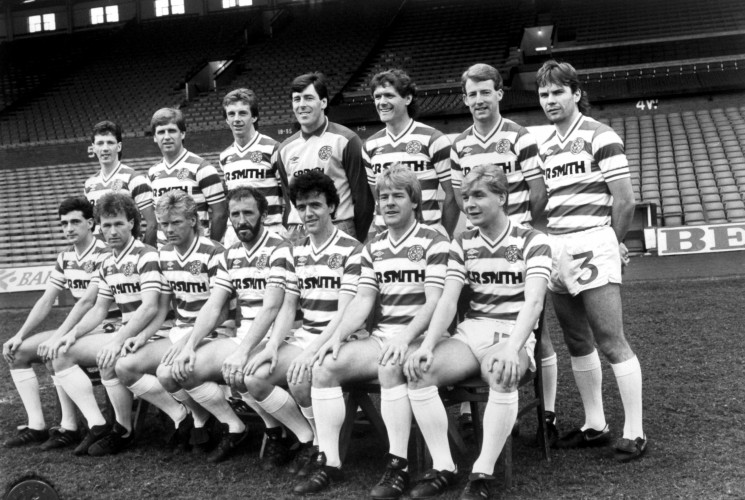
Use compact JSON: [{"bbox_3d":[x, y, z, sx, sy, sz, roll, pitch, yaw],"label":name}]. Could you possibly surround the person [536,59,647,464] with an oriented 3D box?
[{"bbox_3d":[1.876,0.044,6.027,0.773,3.297,0.997,-3,11,13],"label":"person"}]
